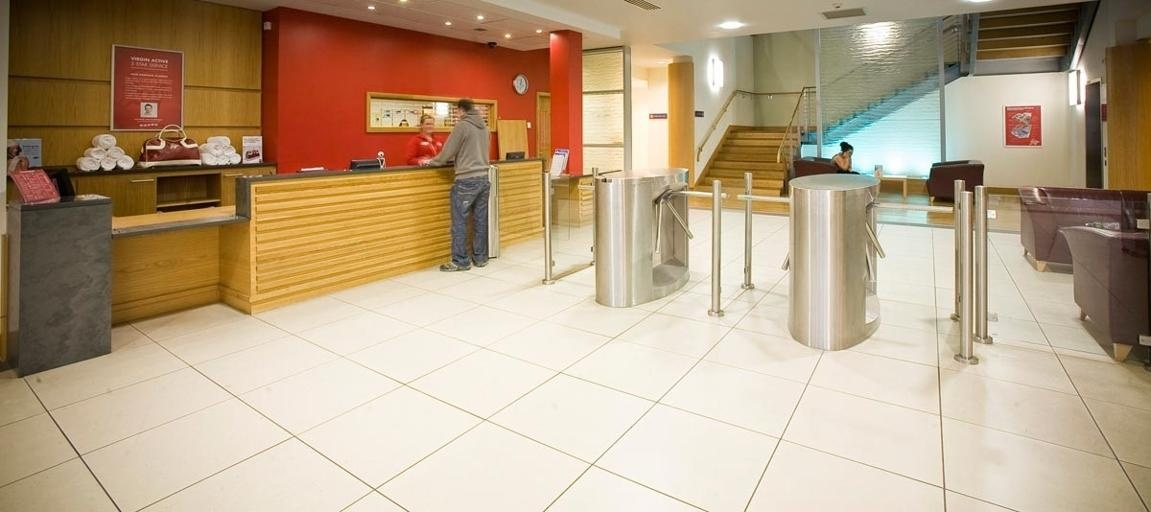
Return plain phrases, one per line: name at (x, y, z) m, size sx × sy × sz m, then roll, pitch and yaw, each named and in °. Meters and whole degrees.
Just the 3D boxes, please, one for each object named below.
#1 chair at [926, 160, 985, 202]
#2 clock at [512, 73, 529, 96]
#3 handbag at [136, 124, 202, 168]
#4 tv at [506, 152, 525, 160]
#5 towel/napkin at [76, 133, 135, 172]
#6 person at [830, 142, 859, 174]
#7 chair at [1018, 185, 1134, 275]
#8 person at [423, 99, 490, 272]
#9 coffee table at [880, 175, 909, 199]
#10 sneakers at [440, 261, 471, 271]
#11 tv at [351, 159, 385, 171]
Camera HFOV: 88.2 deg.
chair at (9.083, -1.769, 14.292) m, size 1.040 × 1.040 × 1.027 m, roll 6°, pitch 19°, yaw 15°
clock at (-1.320, -4.201, 14.464) m, size 0.114 × 0.477 × 0.511 m, roll 13°, pitch 22°, yaw 30°
handbag at (-7.444, -1.996, 10.814) m, size 1.036 × 0.720 × 0.406 m, roll -5°, pitch 4°, yaw -43°
tv at (-1.171, -1.985, 11.750) m, size 0.183 × 0.147 × 0.262 m, roll -12°, pitch 1°, yaw 44°
towel/napkin at (-8.276, -1.817, 10.405) m, size 0.781 × 0.599 × 0.388 m, roll -11°, pitch 22°, yaw -32°
person at (6.321, -2.332, 13.999) m, size 0.415 × 0.690 × 0.731 m, roll 13°, pitch 22°, yaw 32°
chair at (7.392, -0.386, 8.781) m, size 1.579 × 0.927 × 1.440 m, roll 0°, pitch 2°, yaw 25°
person at (-1.956, -1.274, 10.478) m, size 0.916 × 2.892 × 1.091 m, roll 0°, pitch 19°, yaw -2°
coffee table at (8.488, -1.830, 15.697) m, size 0.822 × 0.400 × 0.779 m, roll 4°, pitch 8°, yaw 30°
sneakers at (-2.111, 0.178, 10.459) m, size 0.565 × 0.183 × 0.186 m, roll 2°, pitch 0°, yaw -6°
tv at (-3.527, -1.560, 10.067) m, size 0.509 × 0.115 × 0.568 m, roll -4°, pitch 18°, yaw -16°
